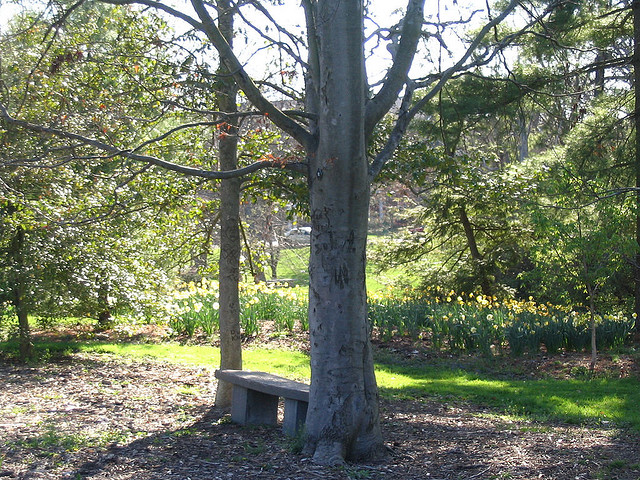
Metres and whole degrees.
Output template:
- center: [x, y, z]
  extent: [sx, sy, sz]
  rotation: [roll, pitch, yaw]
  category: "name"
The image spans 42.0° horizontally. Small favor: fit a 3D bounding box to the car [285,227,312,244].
- center: [-1.068, -0.287, 44.231]
  extent: [1.569, 0.639, 2.018]
  rotation: [0, 0, -6]
  category: "car"
